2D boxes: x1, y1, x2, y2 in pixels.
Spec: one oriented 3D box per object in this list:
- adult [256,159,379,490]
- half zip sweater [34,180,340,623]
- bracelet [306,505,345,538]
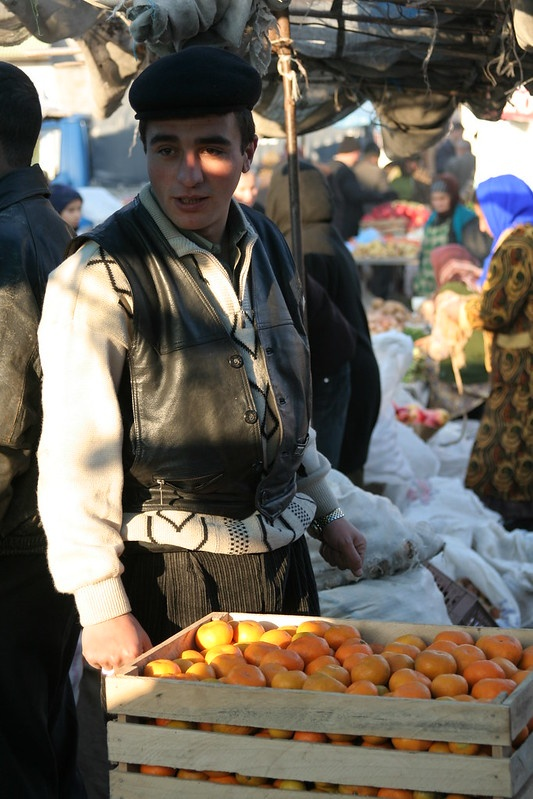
[{"bbox_3d":[0.247,-0.476,4.456,0.547,1.767,0.700,-5,1,42],"label":"adult"},{"bbox_3d":[-0.143,-0.049,1.615,0.370,0.697,0.835,5,14,35],"label":"half zip sweater"},{"bbox_3d":[0.136,0.289,1.930,0.088,0.037,0.064,-30,-12,6],"label":"bracelet"}]
